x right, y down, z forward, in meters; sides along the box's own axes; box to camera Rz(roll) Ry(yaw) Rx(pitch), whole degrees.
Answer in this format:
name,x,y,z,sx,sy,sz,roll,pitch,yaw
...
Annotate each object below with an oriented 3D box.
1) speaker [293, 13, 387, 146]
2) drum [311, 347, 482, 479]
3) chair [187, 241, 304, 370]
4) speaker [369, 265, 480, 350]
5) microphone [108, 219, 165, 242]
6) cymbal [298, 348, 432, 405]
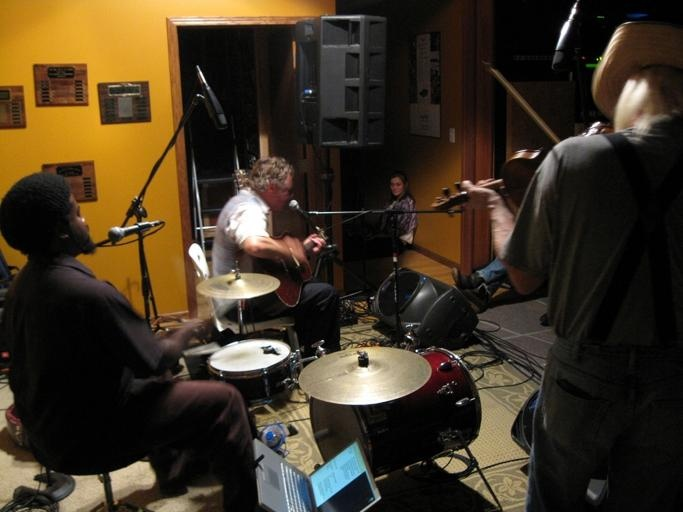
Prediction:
name,x,y,z,sx,sy,sz,roll,pitch,yaw
speaker,-0.005,-1.479,4.888,0.598,1.103,0.840,-12,20,-38
drum,0.299,0.813,3.059,0.681,0.598,0.605,-6,41,-37
chair,-0.668,0.347,3.874,0.700,0.716,0.633,-9,26,-21
speaker,0.594,0.362,4.485,0.722,0.549,0.293,24,7,27
microphone,-1.505,-0.206,4.332,0.121,0.102,0.487,22,27,38
cymbal,0.089,0.518,2.749,0.605,0.112,0.613,4,5,-41
